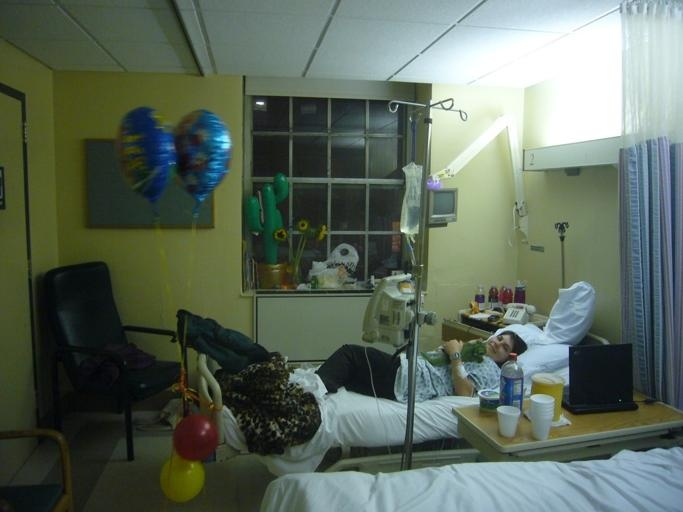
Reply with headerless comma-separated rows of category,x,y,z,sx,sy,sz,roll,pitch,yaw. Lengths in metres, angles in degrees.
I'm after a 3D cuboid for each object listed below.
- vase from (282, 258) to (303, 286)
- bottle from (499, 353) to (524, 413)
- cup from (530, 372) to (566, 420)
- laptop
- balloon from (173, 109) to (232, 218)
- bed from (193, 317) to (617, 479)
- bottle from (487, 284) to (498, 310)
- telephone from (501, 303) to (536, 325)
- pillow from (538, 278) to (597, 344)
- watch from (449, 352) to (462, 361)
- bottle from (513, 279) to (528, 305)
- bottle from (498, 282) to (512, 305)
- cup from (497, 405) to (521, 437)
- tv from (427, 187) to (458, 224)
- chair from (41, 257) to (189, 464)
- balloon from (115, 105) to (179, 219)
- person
vase,-0.424,0.158,4.860,0.181,0.362,0.188,-1,4,-12
bottle,0.933,0.704,3.077,0.136,0.320,0.142,0,6,0
cup,1.136,0.790,3.112,0.170,0.212,0.182,2,2,0
laptop,1.487,0.664,3.336,0.415,0.423,0.360,-1,1,-1
balloon,-0.769,-0.518,3.080,0.302,0.555,0.318,11,10,37
bed,0.173,0.853,3.662,1.872,0.682,1.063,-3,12,-12
bottle,1.299,0.359,4.791,0.088,0.174,0.047,1,4,16
telephone,1.426,0.423,4.528,0.142,0.197,0.242,18,-10,-37
pillow,1.649,0.482,4.190,0.315,0.555,0.418,14,-10,-9
watch,0.747,0.669,3.662,0.069,0.051,0.064,-5,-14,-8
bottle,1.491,0.304,4.692,0.097,0.182,0.277,1,4,17
bottle,1.413,0.336,4.812,0.111,0.152,0.146,1,4,17
cup,0.861,0.851,2.940,0.128,0.144,0.136,8,1,0
tv,0.842,-0.364,4.668,0.228,0.330,0.209,3,-24,8
chair,-1.594,0.707,3.955,0.798,1.161,0.703,5,8,15
balloon,-1.020,-0.500,2.963,0.290,0.580,0.281,-7,2,-13
person,0.528,0.822,3.821,1.244,0.529,0.546,7,-20,8
